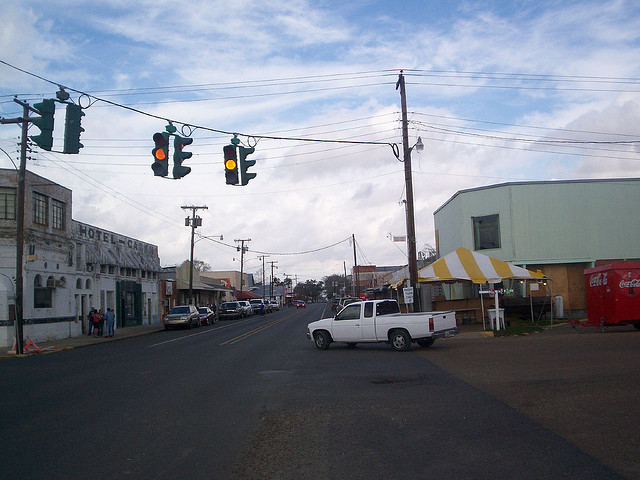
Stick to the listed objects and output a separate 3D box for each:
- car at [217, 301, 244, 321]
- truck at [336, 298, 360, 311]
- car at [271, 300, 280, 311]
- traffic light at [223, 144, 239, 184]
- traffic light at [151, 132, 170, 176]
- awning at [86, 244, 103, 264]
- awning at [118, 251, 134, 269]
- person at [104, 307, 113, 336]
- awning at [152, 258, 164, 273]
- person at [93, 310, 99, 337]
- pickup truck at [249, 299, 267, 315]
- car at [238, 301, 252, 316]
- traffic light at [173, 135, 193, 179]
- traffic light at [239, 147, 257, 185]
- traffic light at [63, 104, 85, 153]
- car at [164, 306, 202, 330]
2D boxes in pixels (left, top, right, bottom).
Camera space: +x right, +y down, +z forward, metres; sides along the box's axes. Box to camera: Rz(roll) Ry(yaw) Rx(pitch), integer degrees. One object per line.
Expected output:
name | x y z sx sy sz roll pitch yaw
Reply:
car | -8.818 6.962 57.171 2.050 1.607 1.680 -1 -3 -25
truck | 2.209 6.161 54.859 1.250 1.358 2.288 1 -1 3
car | -7.032 9.986 89.864 1.294 1.303 2.869 0 -10 -1
traffic light | -2.808 -2.423 18.176 0.386 1.302 0.594 -2 -2 -11
traffic light | -4.670 -2.558 17.036 0.329 1.357 0.634 -3 -2 34
awning | -15.454 0.896 39.254 0.624 1.292 1.769 -2 -3 -4
awning | -15.390 1.508 45.670 0.884 1.364 2.236 -2 -3 -7
person | -12.800 5.055 35.115 0.366 1.423 0.757 -2 -2 -21
awning | -15.401 2.353 54.679 0.820 1.350 2.441 -2 -3 -14
person | -13.902 5.095 35.812 0.356 1.614 1.785 -1 -3 -21
pickup truck | -7.761 8.433 72.906 1.831 1.528 4.527 -2 -3 -7
car | -8.108 7.307 61.910 1.341 1.358 3.028 -1 -13 1
traffic light | -4.076 -2.507 17.064 0.546 1.363 1.026 -2 -2 -15
traffic light | -2.236 -2.345 17.744 0.465 1.279 1.427 -2 -3 -8
traffic light | -6.703 -3.066 15.736 0.475 1.460 1.071 -1 -2 -23
car | -9.918 5.590 42.324 1.199 1.164 2.653 -2 -11 5
